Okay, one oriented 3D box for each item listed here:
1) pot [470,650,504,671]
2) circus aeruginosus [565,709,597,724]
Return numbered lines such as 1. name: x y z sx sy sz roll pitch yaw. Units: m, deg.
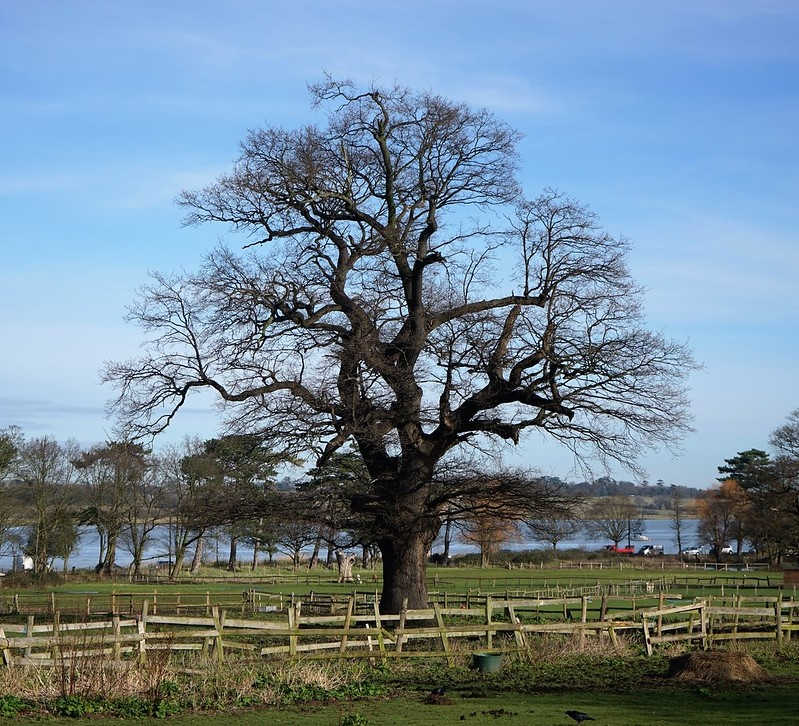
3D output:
1. pot: 2.493 8.488 46.117 0.851 0.515 1.017 -2 -6 1
2. circus aeruginosus: 4.652 8.871 40.970 0.862 0.357 0.231 -7 -22 -23
